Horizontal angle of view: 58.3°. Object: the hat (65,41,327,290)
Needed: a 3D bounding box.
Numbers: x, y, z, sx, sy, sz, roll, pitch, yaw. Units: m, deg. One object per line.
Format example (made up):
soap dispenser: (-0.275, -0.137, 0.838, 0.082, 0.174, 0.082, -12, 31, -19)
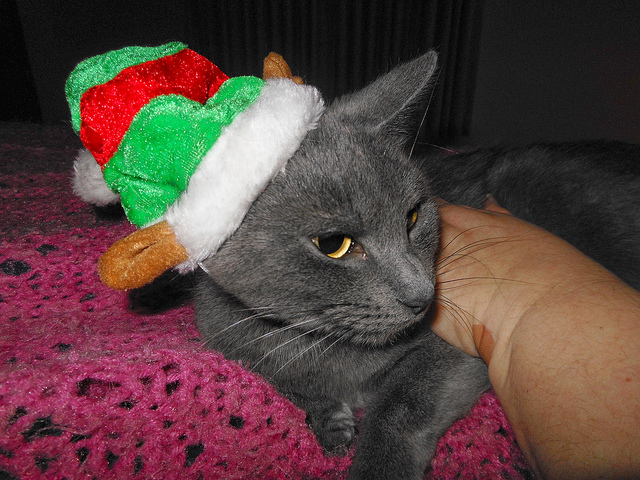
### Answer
hat: (-0.272, -0.205, 1.319, 0.581, 0.381, 0.405, -18, 47, -20)
